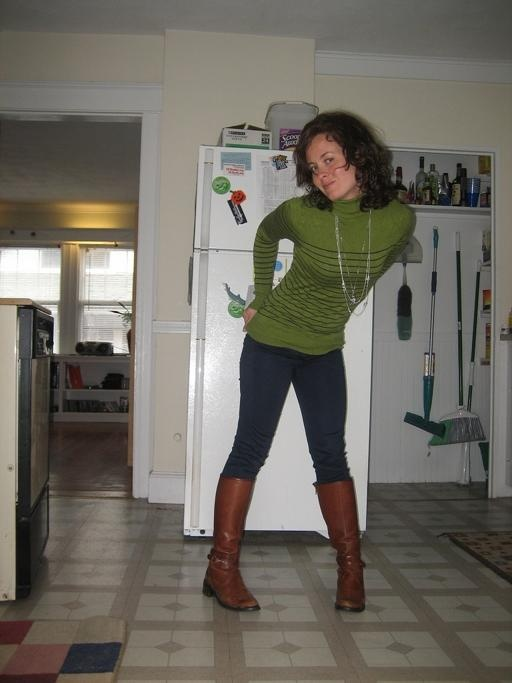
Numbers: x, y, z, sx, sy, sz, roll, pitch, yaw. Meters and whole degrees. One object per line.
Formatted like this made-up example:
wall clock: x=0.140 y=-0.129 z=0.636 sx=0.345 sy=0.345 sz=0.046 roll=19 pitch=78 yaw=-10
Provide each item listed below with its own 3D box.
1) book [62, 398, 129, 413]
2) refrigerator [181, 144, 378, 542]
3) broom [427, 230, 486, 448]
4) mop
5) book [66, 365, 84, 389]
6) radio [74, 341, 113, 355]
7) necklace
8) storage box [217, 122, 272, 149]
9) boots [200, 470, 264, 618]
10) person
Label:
book: x=-1.611 y=0.646 z=6.060 sx=0.627 sy=0.137 sz=0.128 roll=-1 pitch=4 yaw=-2
refrigerator: x=0.044 y=-0.013 z=2.347 sx=0.548 sy=1.397 sz=0.695 roll=-1 pitch=6 yaw=-9
broom: x=1.151 y=-0.002 z=3.526 sx=0.389 sy=1.150 sz=0.356 roll=-3 pitch=4 yaw=1
mop: x=0.998 y=-0.035 z=3.516 sx=0.180 sy=1.286 sz=0.171 roll=2 pitch=4 yaw=-3
book: x=-1.881 y=0.366 z=6.220 sx=0.233 sy=0.217 sz=0.218 roll=-3 pitch=7 yaw=-27
radio: x=-1.741 y=0.084 z=6.464 sx=0.317 sy=0.105 sz=0.166 roll=3 pitch=-3 yaw=11
necklace: x=0.231 y=-0.178 z=1.440 sx=0.083 sy=0.233 sz=0.214 roll=-1 pitch=4 yaw=8
storage box: x=-0.046 y=-0.799 z=2.367 sx=0.164 sy=0.098 sz=0.152 roll=0 pitch=2 yaw=-3
boots: x=-0.047 y=0.534 z=1.597 sx=0.116 sy=0.316 sz=0.223 roll=11 pitch=-10 yaw=-38
person: x=0.122 y=0.083 z=1.557 sx=0.555 sy=1.256 sz=0.302 roll=1 pitch=5 yaw=35
